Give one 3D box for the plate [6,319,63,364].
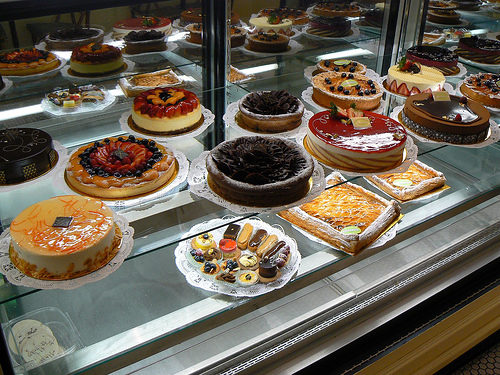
[{"bbox_3d":[-1.051,0.744,1.803,0.253,0.163,0.180,33,51,30],"label":"plate"}]
